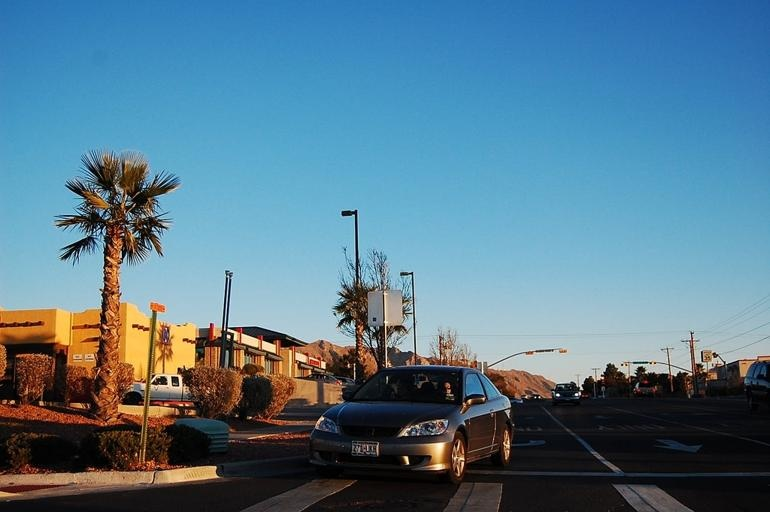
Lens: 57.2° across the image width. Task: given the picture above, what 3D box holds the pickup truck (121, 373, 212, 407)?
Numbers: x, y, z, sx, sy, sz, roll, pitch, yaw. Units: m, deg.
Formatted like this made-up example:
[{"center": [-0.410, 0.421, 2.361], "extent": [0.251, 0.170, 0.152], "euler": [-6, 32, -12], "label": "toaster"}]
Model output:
[{"center": [-11.530, 6.820, 36.184], "extent": [2.953, 1.732, 2.704], "euler": [2, -14, -20], "label": "pickup truck"}]

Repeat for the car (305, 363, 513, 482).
[{"center": [0.786, 3.572, 15.252], "extent": [4.533, 2.516, 2.304], "euler": [9, -17, -41], "label": "car"}]
